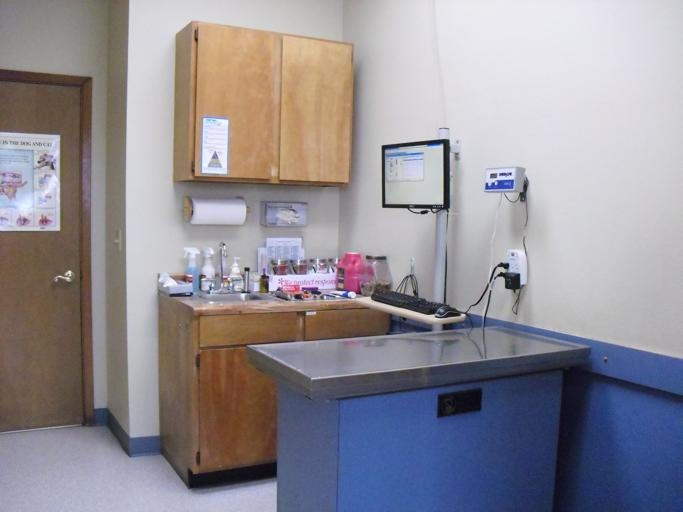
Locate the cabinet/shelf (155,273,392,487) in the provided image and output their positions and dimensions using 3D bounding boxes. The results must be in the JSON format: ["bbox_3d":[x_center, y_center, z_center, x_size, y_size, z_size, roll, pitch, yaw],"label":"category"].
[{"bbox_3d":[-0.467,0.806,3.818,1.232,1.138,0.736,1,3,-33],"label":"cabinet/shelf"}]

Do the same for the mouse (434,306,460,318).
[{"bbox_3d":[0.500,0.263,2.758,0.107,0.038,0.103,6,12,28],"label":"mouse"}]

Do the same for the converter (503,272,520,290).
[{"bbox_3d":[0.822,0.120,2.887,0.069,0.116,0.080,1,-2,-32],"label":"converter"}]

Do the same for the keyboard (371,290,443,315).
[{"bbox_3d":[0.320,0.233,2.976,0.111,0.063,0.493,-6,12,-31],"label":"keyboard"}]

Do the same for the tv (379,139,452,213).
[{"bbox_3d":[0.397,-0.420,3.061,0.045,0.319,0.407,-5,5,-38],"label":"tv"}]

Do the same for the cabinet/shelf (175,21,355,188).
[{"bbox_3d":[-0.454,-0.935,3.832,1.061,0.984,0.375,0,2,-17],"label":"cabinet/shelf"}]
